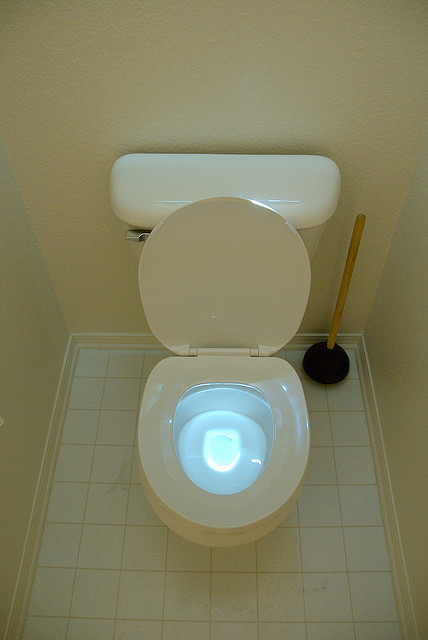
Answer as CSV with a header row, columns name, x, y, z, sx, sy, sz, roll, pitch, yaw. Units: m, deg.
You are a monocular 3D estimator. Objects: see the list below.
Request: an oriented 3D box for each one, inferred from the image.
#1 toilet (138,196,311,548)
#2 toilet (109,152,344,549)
name,x,y,z,sx,sy,sz,roll,pitch,yaw
toilet,0.025,0.176,1.081,0.379,0.790,0.538,1,53,-2
toilet,0.001,0.105,1.127,0.444,0.724,0.700,5,54,6
